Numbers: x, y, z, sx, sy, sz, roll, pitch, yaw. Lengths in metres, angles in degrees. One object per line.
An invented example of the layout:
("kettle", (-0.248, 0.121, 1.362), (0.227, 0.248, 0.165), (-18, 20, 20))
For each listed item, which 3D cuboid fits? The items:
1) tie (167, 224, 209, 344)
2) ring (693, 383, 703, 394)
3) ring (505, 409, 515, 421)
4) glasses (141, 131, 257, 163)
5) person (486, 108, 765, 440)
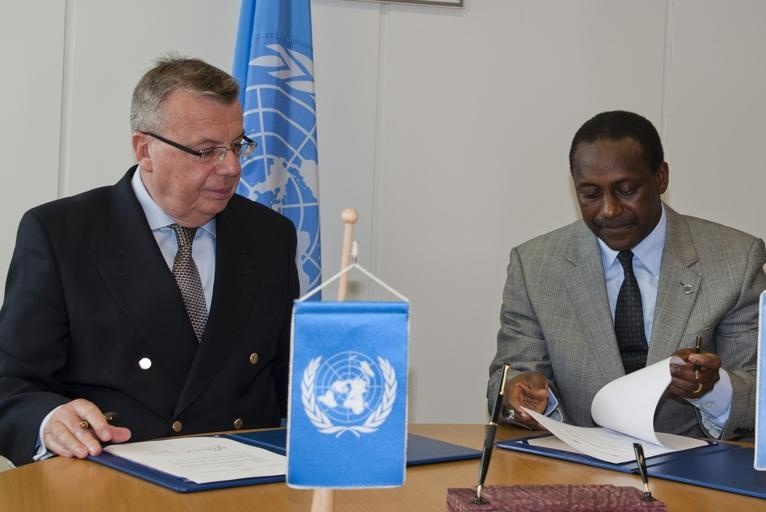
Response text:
("tie", (-0.664, 0.088, 2.271), (0.118, 0.441, 0.022), (2, -31, -31))
("ring", (0.979, 0.409, 2.051), (0.019, 0.035, 0.049), (4, 4, 41))
("ring", (0.414, 0.515, 2.148), (0.028, 0.027, 0.031), (0, -6, -10))
("glasses", (-0.645, -0.400, 2.356), (0.191, 0.051, 0.187), (31, 21, 25))
("person", (0.925, 0.044, 2.475), (0.983, 1.213, 0.567), (2, 3, 18))
